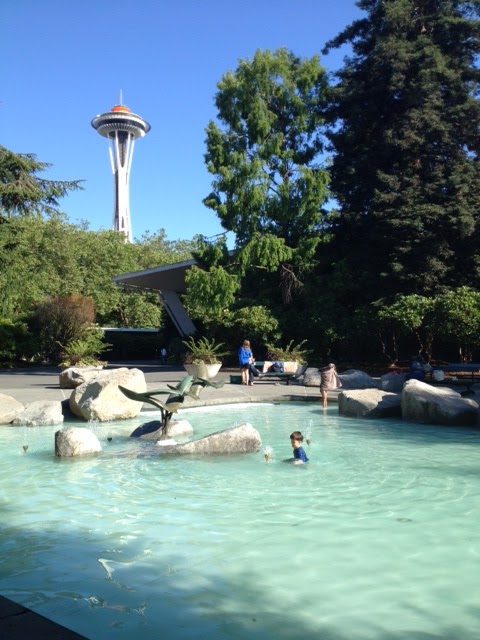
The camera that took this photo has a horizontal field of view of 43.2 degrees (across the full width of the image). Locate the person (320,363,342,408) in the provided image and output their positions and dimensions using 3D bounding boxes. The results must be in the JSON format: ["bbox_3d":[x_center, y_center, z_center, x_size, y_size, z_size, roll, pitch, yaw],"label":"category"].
[{"bbox_3d":[2.028,1.488,13.729,0.404,0.972,1.096,-2,-2,9],"label":"person"}]
